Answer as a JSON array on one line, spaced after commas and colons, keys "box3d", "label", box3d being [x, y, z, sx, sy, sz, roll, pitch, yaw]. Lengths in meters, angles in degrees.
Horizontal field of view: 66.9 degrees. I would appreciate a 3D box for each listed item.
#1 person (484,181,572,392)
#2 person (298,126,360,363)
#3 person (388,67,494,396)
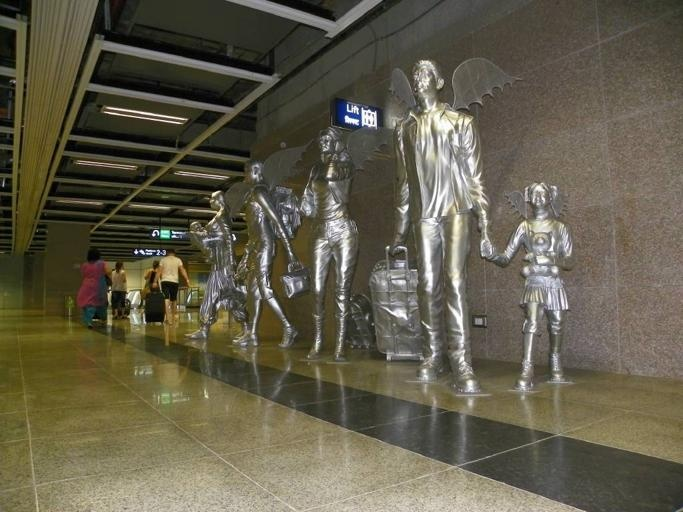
[{"box3d": [1.508, 0.199, 4.081, 0.633, 1.155, 0.421, 0, -1, -37], "label": "person"}, {"box3d": [-0.128, -0.155, 5.666, 0.544, 2.487, 0.718, -1, -1, -25], "label": "person"}, {"box3d": [0.843, -0.286, 4.217, 0.415, 2.601, 0.953, -1, -1, -27], "label": "person"}]
